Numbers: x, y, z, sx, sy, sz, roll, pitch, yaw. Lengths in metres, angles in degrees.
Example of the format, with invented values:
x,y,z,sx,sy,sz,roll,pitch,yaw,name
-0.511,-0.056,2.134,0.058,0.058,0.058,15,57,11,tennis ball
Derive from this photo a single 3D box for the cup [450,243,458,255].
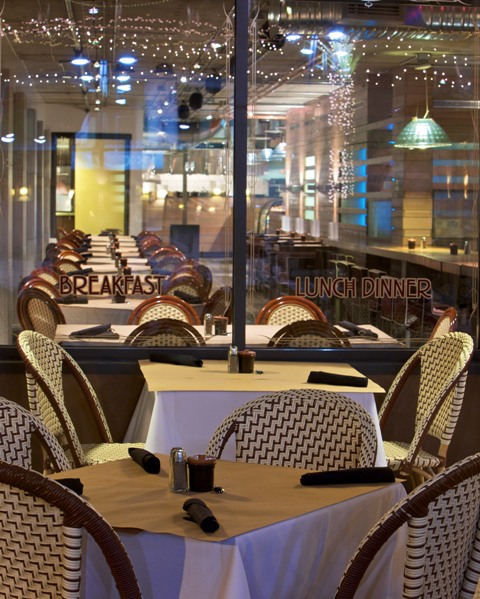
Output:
x,y,z,sx,sy,sz,roll,pitch,yaw,name
1.388,-0.327,3.589,0.079,0.074,0.044,1,7,2,cup

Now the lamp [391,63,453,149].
x,y,z,sx,sy,sz,roll,pitch,yaw,name
1.216,-1.276,3.645,0.377,0.536,0.373,-7,10,-39,lamp

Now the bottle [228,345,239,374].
x,y,z,sx,sy,sz,roll,pitch,yaw,name
-0.034,0.325,2.934,0.056,0.127,0.130,1,1,-2,bottle

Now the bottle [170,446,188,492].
x,y,z,sx,sy,sz,roll,pitch,yaw,name
-0.148,0.409,1.354,0.045,0.095,0.125,1,1,-6,bottle

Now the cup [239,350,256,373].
x,y,z,sx,sy,sz,roll,pitch,yaw,name
0.040,0.336,2.925,0.091,0.109,0.084,1,1,0,cup

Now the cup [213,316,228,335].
x,y,z,sx,sy,sz,roll,pitch,yaw,name
-0.120,0.176,3.550,0.098,0.110,0.097,0,3,0,cup

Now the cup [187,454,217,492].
x,y,z,sx,sy,sz,roll,pitch,yaw,name
-0.091,0.414,1.303,0.079,0.077,0.078,0,-2,0,cup

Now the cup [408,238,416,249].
x,y,z,sx,sy,sz,roll,pitch,yaw,name
1.107,-0.365,3.558,0.056,0.059,0.055,1,-1,0,cup
